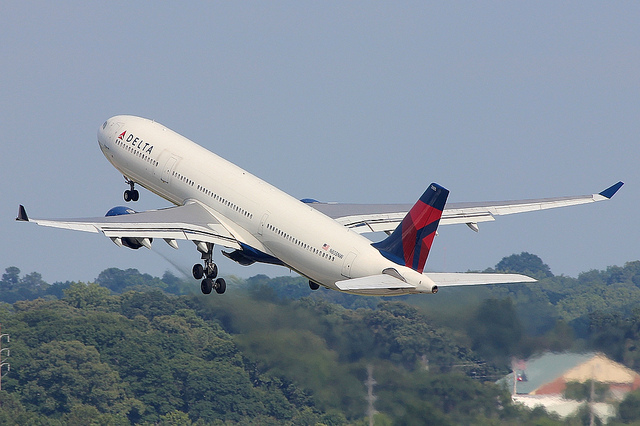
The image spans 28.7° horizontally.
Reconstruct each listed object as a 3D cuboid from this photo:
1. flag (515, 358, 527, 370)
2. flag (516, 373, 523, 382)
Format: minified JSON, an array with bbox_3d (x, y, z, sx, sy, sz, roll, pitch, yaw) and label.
[{"bbox_3d":[17.779,13.105,109.113,1.040,0.752,0.316,-23,-23,26],"label":"flag"},{"bbox_3d":[17.554,14.195,108.371,0.550,0.444,0.158,-2,-57,-23],"label":"flag"}]
